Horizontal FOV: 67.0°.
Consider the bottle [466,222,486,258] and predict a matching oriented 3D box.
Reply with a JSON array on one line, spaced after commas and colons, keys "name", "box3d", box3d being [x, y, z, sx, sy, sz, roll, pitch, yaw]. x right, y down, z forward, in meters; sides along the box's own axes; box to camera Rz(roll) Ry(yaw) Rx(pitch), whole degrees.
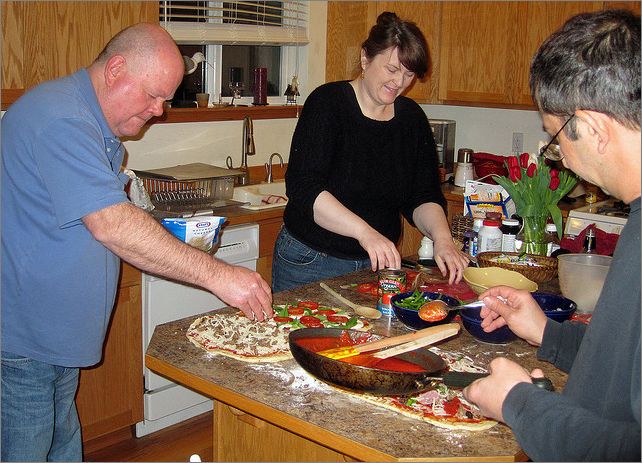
[{"name": "bottle", "box3d": [0.791, 0.035, 2.341, 0.138, 0.135, 0.261, 4, -9, 21]}]

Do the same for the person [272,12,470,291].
[{"name": "person", "box3d": [0.206, -0.275, 2.036, 0.858, 1.242, 0.544, -2, 15, -7]}]

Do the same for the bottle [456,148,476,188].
[{"name": "bottle", "box3d": [1.211, -0.532, 4.047, 0.172, 0.292, 0.172, 0, 16, 0]}]

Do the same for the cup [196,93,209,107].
[{"name": "cup", "box3d": [-0.861, -0.939, 3.459, 0.110, 0.116, 0.109, 2, 16, -1]}]

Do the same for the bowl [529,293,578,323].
[{"name": "bowl", "box3d": [0.780, 0.274, 1.607, 0.128, 0.048, 0.126, 2, 24, -1]}]

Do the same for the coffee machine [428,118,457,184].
[{"name": "coffee machine", "box3d": [1.032, -0.726, 4.316, 0.368, 0.514, 0.357, 1, 11, 4]}]

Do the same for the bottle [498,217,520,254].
[{"name": "bottle", "box3d": [0.870, 0.025, 2.260, 0.101, 0.172, 0.102, -4, 25, 2]}]

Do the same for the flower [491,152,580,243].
[{"name": "flower", "box3d": [1.002, -0.130, 2.312, 0.429, 0.417, 0.404, 4, 0, -38]}]

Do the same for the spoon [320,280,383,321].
[{"name": "spoon", "box3d": [0.112, 0.234, 1.808, 0.069, 0.043, 0.350, -10, 16, -25]}]

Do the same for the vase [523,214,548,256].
[{"name": "vase", "box3d": [1.011, 0.033, 2.273, 0.128, 0.207, 0.126, 1, 0, 21]}]

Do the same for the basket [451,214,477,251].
[{"name": "basket", "box3d": [0.788, -0.027, 2.680, 0.118, 0.153, 0.119, 5, 2, -21]}]

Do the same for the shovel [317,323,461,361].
[{"name": "shovel", "box3d": [0.197, 0.317, 1.374, 0.290, 0.042, 0.061, -11, 41, -15]}]

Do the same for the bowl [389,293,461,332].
[{"name": "bowl", "box3d": [0.328, 0.262, 1.631, 0.144, 0.058, 0.142, 0, 13, 0]}]

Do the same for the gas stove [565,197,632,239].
[{"name": "gas stove", "box3d": [1.713, -0.066, 2.950, 0.453, 0.127, 0.349, 10, 28, 19]}]

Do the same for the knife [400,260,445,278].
[{"name": "knife", "box3d": [0.464, 0.151, 2.183, 0.056, 0.023, 0.278, 3, 7, -21]}]

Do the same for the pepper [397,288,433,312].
[{"name": "pepper", "box3d": [0.329, 0.239, 1.661, 0.066, 0.027, 0.073, -33, 15, -36]}]
